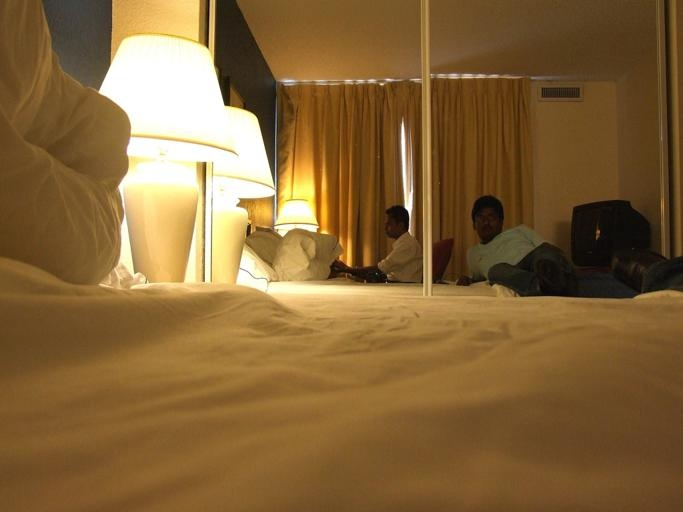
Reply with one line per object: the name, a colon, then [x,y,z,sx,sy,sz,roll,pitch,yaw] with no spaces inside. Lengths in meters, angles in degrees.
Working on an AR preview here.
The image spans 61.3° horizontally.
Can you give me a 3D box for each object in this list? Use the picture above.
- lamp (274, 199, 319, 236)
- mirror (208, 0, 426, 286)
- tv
lamp: [-0.211,-0.159,2.700,0.151,0.178,0.165,1,-4,-12]
mirror: [-0.105,-0.478,2.660,1.065,1.259,0.617,1,-6,-4]
tv: [1.237,-0.100,2.754,0.180,0.288,0.248,11,-11,-42]
